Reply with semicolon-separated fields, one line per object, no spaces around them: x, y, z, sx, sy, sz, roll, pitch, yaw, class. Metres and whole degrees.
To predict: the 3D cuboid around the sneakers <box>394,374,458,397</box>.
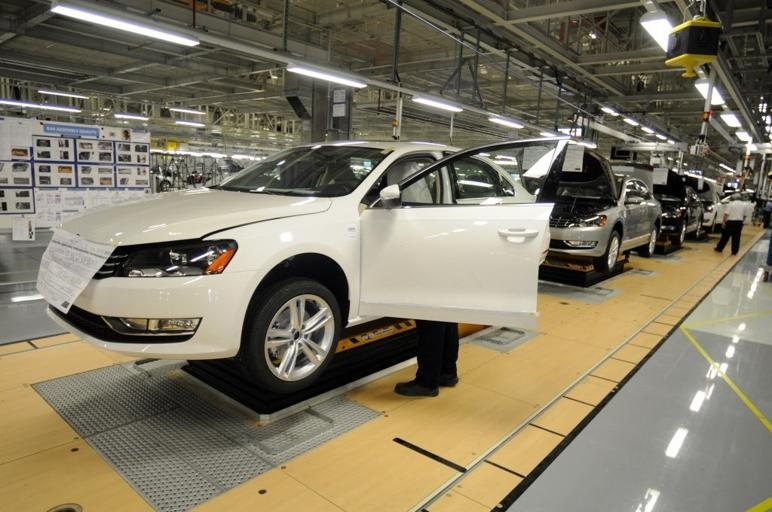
0.410;1.243;4.223;0.666;0.239;0.198;3;-1;-7;sneakers
